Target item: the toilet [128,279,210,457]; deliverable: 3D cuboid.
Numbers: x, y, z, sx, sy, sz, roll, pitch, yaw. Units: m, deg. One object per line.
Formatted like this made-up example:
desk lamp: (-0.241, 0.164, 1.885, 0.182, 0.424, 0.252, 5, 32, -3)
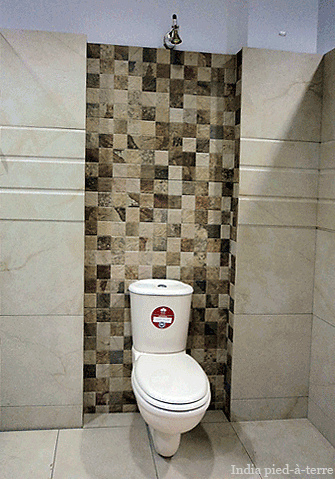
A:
toilet: (-0.006, 0.645, 2.417, 0.380, 0.719, 0.728, 1, 13, -7)
